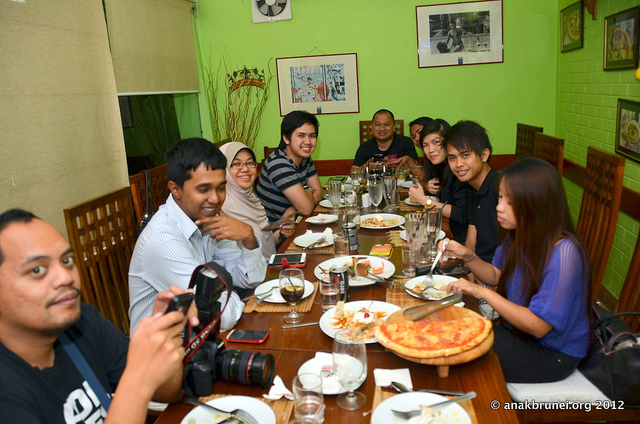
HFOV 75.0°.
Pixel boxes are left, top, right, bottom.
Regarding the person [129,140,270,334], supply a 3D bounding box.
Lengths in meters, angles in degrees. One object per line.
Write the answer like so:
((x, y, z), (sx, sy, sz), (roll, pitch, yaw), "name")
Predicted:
((-0.708, 0.250, 2.316), (0.717, 1.116, 0.614), (1, 5, -1), "person")

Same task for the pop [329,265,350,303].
((0.118, 0.350, 2.092), (0.089, 0.178, 0.130), (13, 23, 41), "pop")

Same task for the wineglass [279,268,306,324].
((-0.133, 0.389, 2.005), (0.116, 0.209, 0.207), (-4, 17, -6), "wineglass")

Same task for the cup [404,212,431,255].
((0.588, 0.140, 2.457), (0.149, 0.253, 0.143), (-3, 11, 1), "cup")

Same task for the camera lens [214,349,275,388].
((-0.298, 0.610, 1.747), (0.269, 0.131, 0.234), (1, 9, 6), "camera lens")

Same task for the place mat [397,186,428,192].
((0.815, -0.228, 4.035), (0.099, 0.028, 0.179), (0, 18, 7), "place mat")

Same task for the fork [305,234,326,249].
((0.008, 0.181, 2.793), (0.035, 0.042, 0.342), (-22, 0, 31), "fork")

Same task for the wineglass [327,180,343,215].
((0.123, -0.126, 3.398), (0.111, 0.294, 0.266), (-2, 17, 0), "wineglass")

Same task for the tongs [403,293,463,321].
((0.546, 0.429, 1.891), (0.414, 0.060, 0.090), (-8, 33, -36), "tongs")

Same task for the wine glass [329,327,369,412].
((0.119, 0.589, 1.579), (0.128, 0.272, 0.141), (2, 6, 30), "wine glass")

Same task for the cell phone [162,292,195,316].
((-0.507, 0.330, 1.502), (0.018, 0.141, 0.081), (31, 6, 24), "cell phone")

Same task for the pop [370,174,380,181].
((0.488, -0.306, 3.683), (0.069, 0.046, 0.073), (0, 0, 9), "pop")

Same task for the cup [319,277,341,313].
((0.051, 0.384, 2.097), (0.133, 0.214, 0.135), (0, 41, 0), "cup")

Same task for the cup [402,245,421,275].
((0.521, 0.264, 2.391), (0.104, 0.186, 0.174), (-1, 10, 10), "cup")

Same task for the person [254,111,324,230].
((-0.274, -0.272, 3.918), (0.652, 1.208, 0.755), (0, 16, -12), "person")

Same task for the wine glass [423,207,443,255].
((0.682, 0.164, 2.518), (0.131, 0.349, 0.127), (-2, 7, 7), "wine glass")

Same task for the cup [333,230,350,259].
((0.130, 0.196, 2.561), (0.107, 0.169, 0.100), (-2, 17, 0), "cup")

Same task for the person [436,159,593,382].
((0.993, 0.154, 2.781), (0.965, 1.851, 0.982), (1, 11, 13), "person")

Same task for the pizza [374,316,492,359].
((0.475, 0.515, 1.693), (0.490, 0.043, 0.254), (-6, 13, 9), "pizza")

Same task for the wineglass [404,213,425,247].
((0.575, 0.092, 2.497), (0.106, 0.161, 0.268), (1, 18, 12), "wineglass")

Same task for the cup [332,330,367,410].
((0.113, 0.582, 1.556), (0.118, 0.243, 0.143), (-2, 17, 1), "cup")
